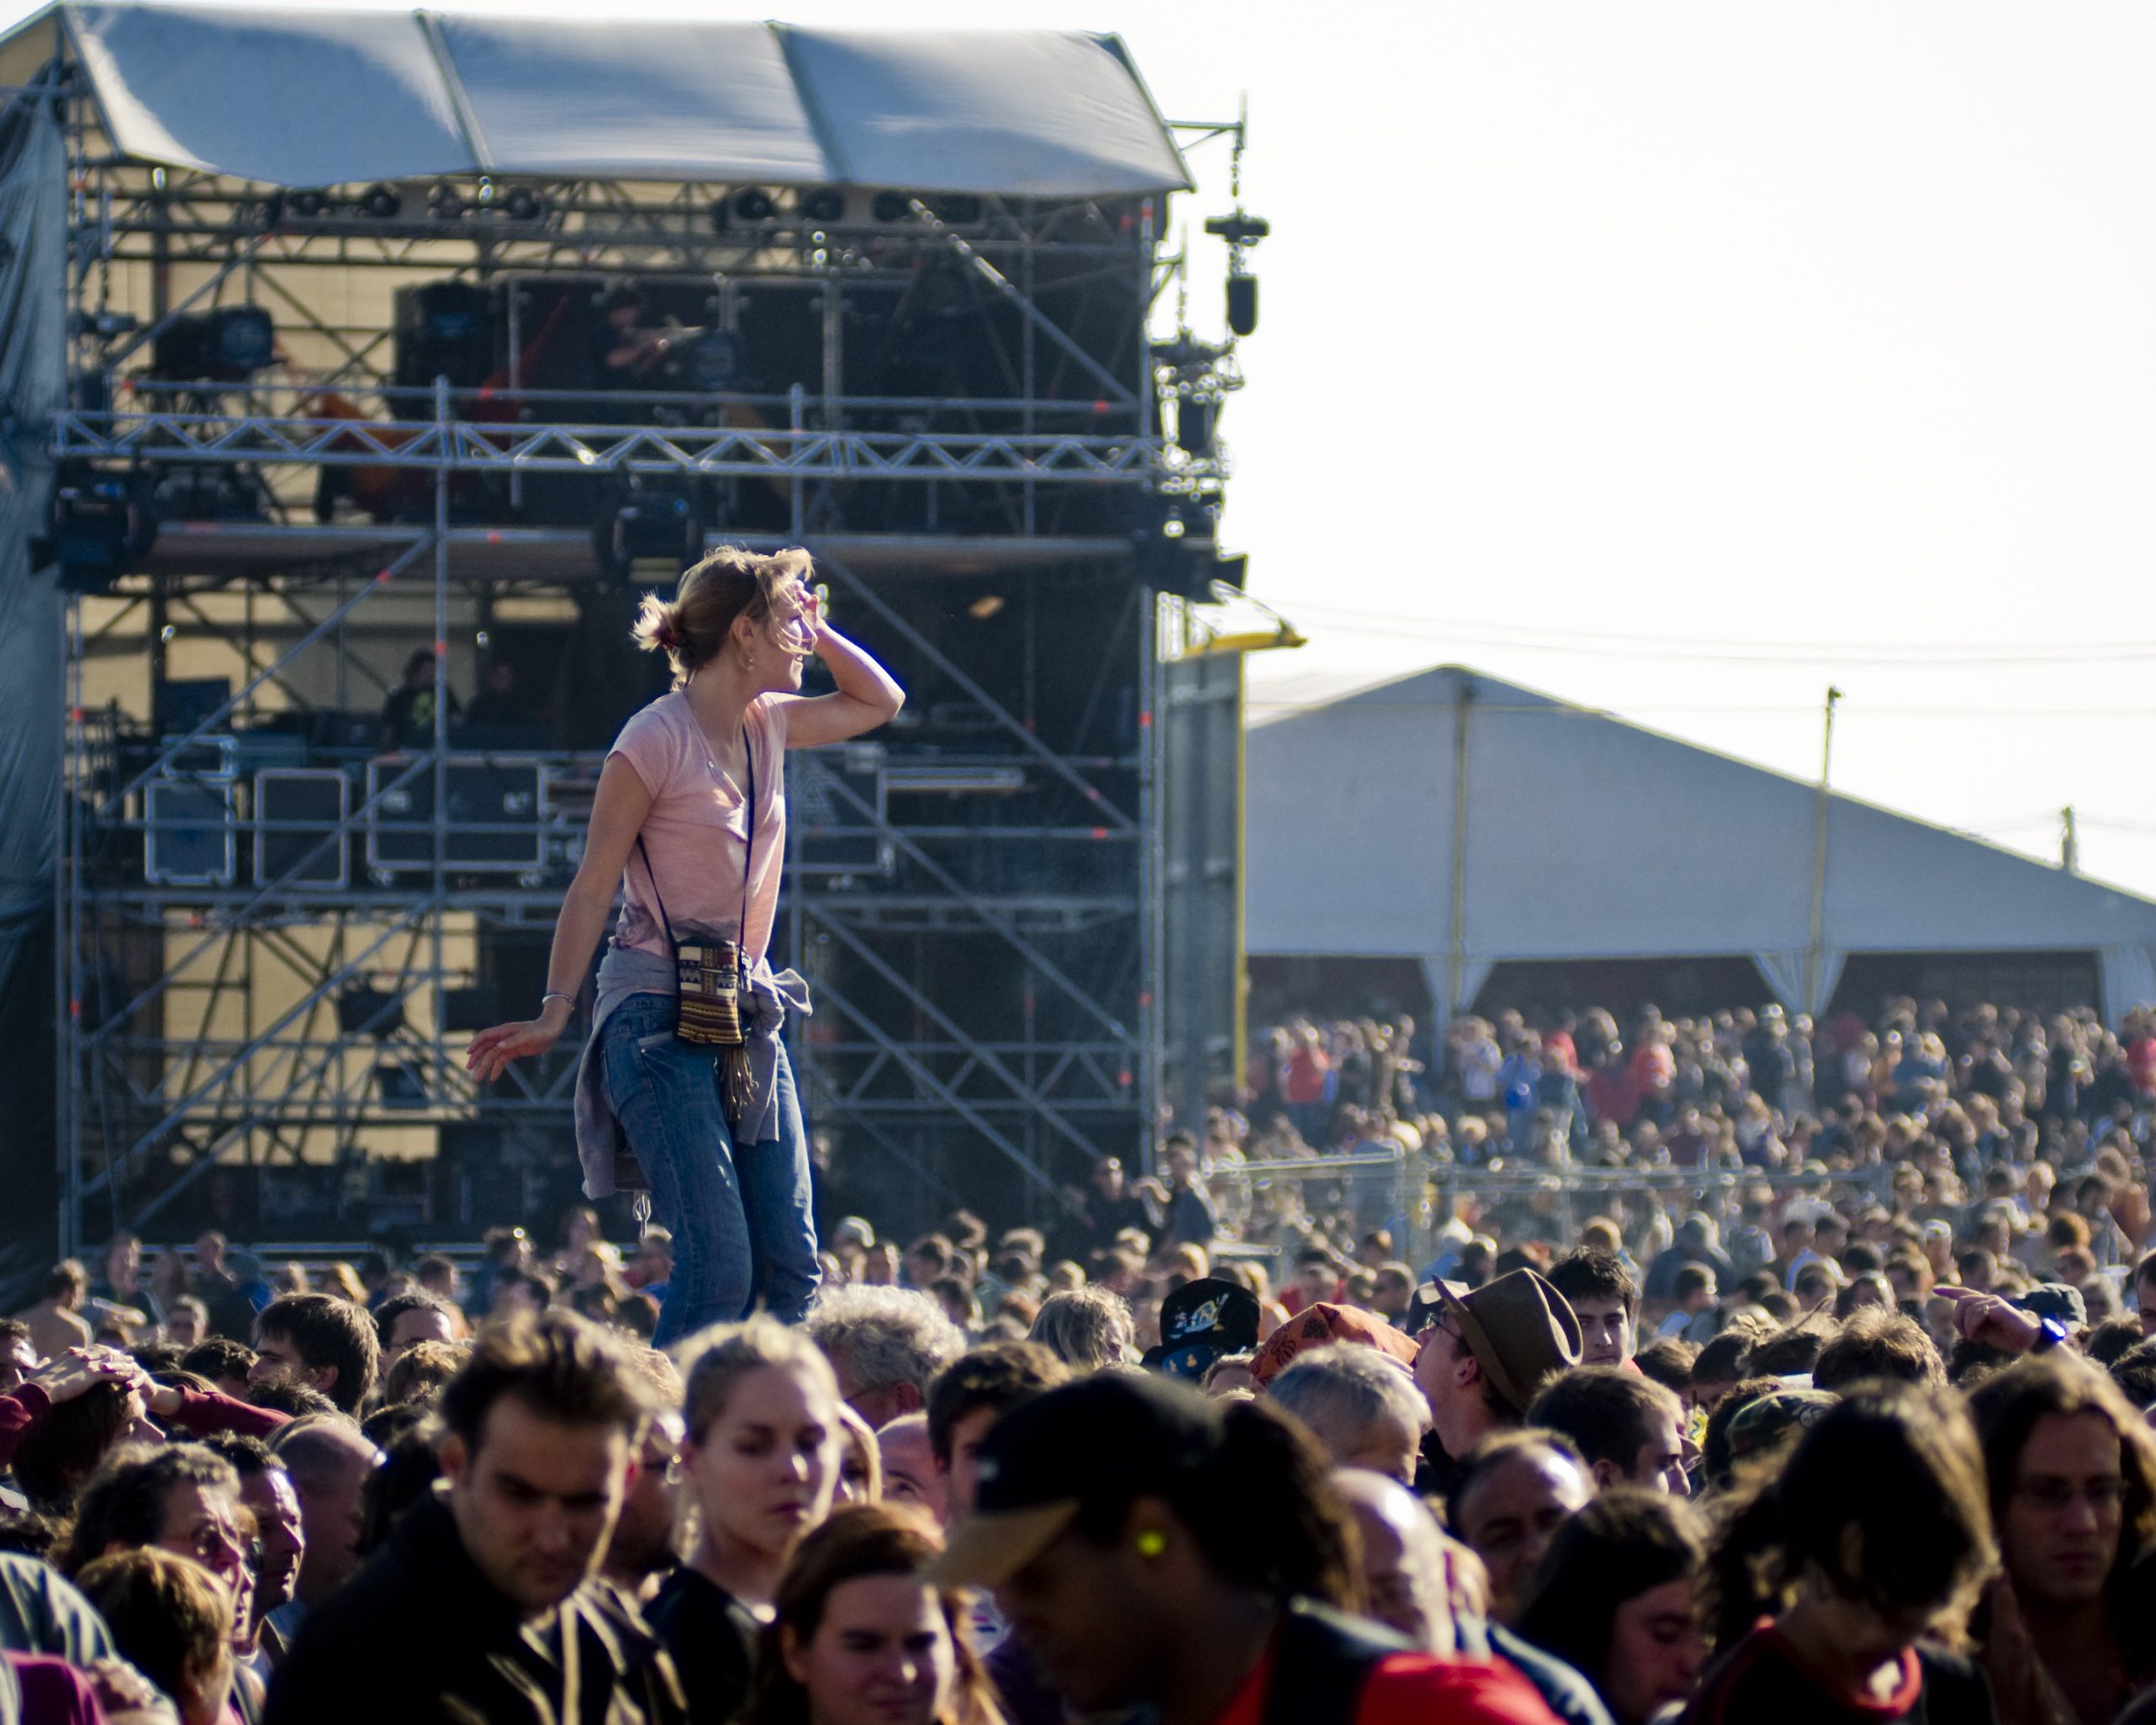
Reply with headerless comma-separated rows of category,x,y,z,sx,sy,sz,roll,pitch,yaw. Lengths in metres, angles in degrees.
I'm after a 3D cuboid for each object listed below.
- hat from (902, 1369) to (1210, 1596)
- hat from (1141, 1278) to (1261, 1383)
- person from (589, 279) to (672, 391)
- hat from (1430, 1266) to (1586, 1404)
hat,-0.076,2.387,22.314,1.064,0.501,0.738,-22,3,0
hat,0.537,2.078,25.541,0.339,0.277,0.556,-4,-7,26
person,-2.942,-3.443,37.443,0.396,0.727,0.665,7,-7,-21
hat,1.888,2.050,24.871,0.238,0.574,0.529,-33,-17,25
